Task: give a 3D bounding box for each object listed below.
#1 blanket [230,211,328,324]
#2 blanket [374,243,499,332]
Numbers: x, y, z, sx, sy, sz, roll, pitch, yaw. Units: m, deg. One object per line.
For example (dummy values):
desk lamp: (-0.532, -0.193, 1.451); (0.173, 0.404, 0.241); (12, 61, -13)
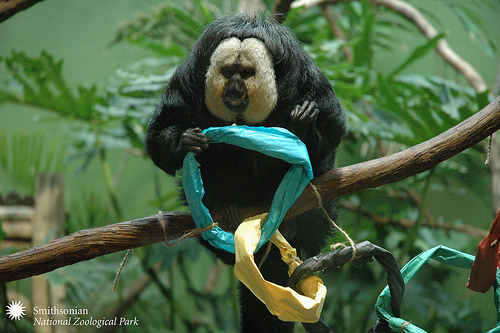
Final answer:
blanket: (0.129, 0.650, 4.589); (0.488, 0.697, 0.281); (-19, -15, -38)
blanket: (1.104, 0.706, 4.665); (0.663, 0.213, 0.508); (-27, 44, -14)
